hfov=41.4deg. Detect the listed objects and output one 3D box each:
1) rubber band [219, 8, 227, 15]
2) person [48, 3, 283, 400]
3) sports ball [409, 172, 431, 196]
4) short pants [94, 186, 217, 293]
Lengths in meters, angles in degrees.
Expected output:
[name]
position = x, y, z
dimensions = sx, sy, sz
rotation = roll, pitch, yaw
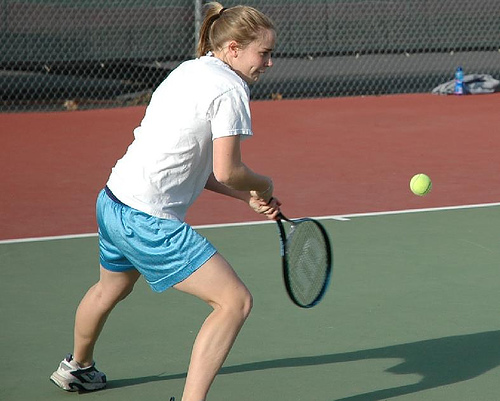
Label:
[rubber band]
position = -0.133, -0.911, 3.186
dimensions = 0.022, 0.032, 0.059
rotation = 8, 15, 14
[person]
position = -0.385, 0.134, 3.139
dimensions = 0.949, 2.102, 0.693
rotation = 5, 14, 0
[sports ball]
position = 1.646, -0.151, 6.420
dimensions = 0.180, 0.230, 0.203
rotation = 8, 14, 13
[short pants]
position = -0.524, 0.181, 3.284
dimensions = 0.388, 0.501, 0.789
rotation = -20, 18, -39
